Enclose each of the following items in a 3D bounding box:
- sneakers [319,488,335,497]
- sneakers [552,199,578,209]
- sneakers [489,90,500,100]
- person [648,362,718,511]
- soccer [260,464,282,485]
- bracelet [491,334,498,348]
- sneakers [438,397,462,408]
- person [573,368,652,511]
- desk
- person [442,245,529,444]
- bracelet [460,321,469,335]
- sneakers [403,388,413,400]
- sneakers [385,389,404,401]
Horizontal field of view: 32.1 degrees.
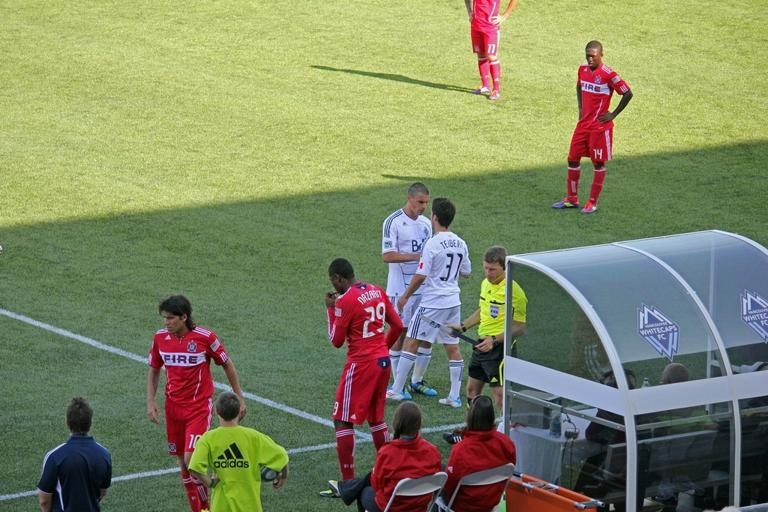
[{"bbox_3d":[-0.726,3.040,17.170,0.255,0.103,0.085,7,12,24],"label":"sneakers"},{"bbox_3d":[3.105,-0.921,22.849,0.510,0.206,0.166,1,23,6],"label":"sneakers"},{"bbox_3d":[2.154,-3.165,26.303,0.175,0.184,0.421,1,7,7],"label":"sneakers"},{"bbox_3d":[3.453,2.172,16.169,0.554,1.736,0.195,-5,0,-11],"label":"person"},{"bbox_3d":[-1.356,2.638,16.120,0.187,0.131,0.236,3,6,1],"label":"soccer"},{"bbox_3d":[1.462,1.123,17.642,0.089,0.123,0.112,-2,22,-7],"label":"bracelet"},{"bbox_3d":[0.925,2.029,18.601,0.337,0.140,0.121,10,12,10],"label":"sneakers"},{"bbox_3d":[2.712,2.221,16.211,0.919,1.707,0.287,-5,0,34],"label":"person"},{"bbox_3d":[2.035,2.388,16.614,0.978,0.582,0.976,15,27,25],"label":"desk"},{"bbox_3d":[1.360,1.257,17.860,0.767,2.646,0.907,1,7,-39],"label":"person"},{"bbox_3d":[1.077,0.961,18.070,0.163,0.208,0.126,2,-4,0],"label":"bracelet"},{"bbox_3d":[0.324,1.925,18.662,0.136,0.136,0.331,-1,7,-10],"label":"sneakers"},{"bbox_3d":[0.141,1.940,18.554,0.300,0.127,0.106,11,14,8],"label":"sneakers"}]
